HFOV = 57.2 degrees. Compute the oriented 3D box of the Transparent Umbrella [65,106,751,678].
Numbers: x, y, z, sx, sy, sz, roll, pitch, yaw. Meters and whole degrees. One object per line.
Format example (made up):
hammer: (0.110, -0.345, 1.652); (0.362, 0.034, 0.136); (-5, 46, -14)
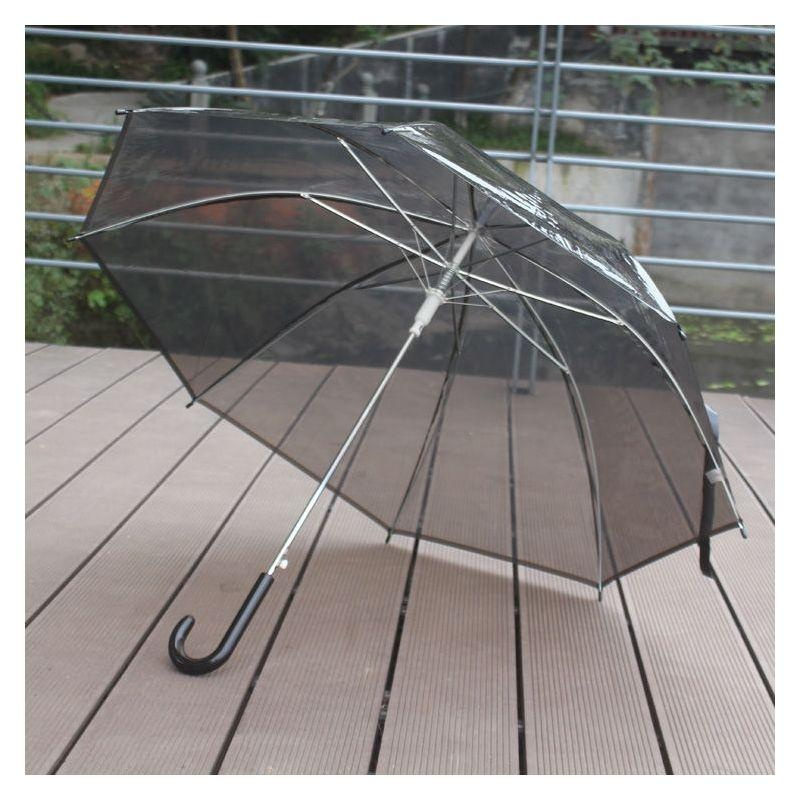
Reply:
Transparent Umbrella: (-0.050, -0.106, 1.913); (1.403, 1.055, 1.374); (-14, 33, -22)
